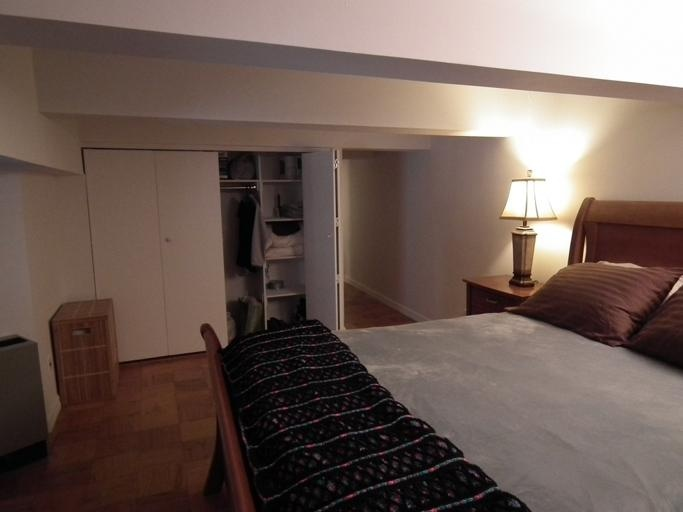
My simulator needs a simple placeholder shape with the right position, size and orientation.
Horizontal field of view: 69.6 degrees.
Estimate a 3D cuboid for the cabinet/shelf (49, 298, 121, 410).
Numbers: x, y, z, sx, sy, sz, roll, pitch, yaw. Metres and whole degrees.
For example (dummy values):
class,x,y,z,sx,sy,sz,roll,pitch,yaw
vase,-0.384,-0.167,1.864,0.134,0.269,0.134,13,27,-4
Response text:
class,x,y,z,sx,sy,sz,roll,pitch,yaw
cabinet/shelf,-2.006,0.754,3.865,0.403,0.699,0.449,-4,15,-21
